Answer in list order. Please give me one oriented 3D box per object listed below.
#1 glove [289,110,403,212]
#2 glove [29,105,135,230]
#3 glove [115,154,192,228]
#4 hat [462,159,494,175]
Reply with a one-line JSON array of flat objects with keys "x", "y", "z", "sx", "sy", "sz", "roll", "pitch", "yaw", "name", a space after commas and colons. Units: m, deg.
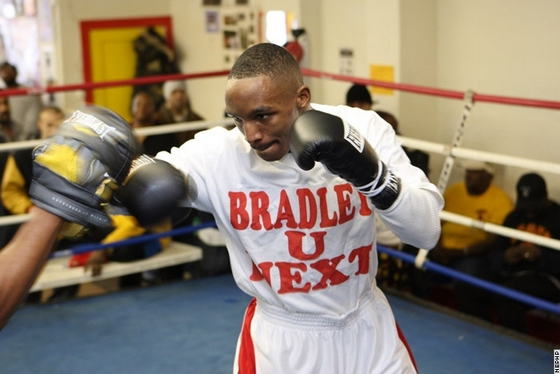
[{"x": 0.232, "y": -0.091, "z": 1.716, "sx": 0.398, "sy": 0.348, "sz": 0.101, "roll": -1, "pitch": 17, "yaw": -3, "name": "glove"}, {"x": -0.606, "y": -0.045, "z": 1.703, "sx": 0.278, "sy": 0.303, "sz": 0.393, "roll": 31, "pitch": -4, "yaw": 0, "name": "glove"}, {"x": -0.448, "y": 0.034, "z": 1.711, "sx": 0.186, "sy": 0.247, "sz": 0.240, "roll": 4, "pitch": -30, "yaw": -21, "name": "glove"}, {"x": 1.315, "y": -0.140, "z": 3.262, "sx": 0.134, "sy": 0.056, "sz": 0.102, "roll": 26, "pitch": 0, "yaw": 17, "name": "hat"}]
